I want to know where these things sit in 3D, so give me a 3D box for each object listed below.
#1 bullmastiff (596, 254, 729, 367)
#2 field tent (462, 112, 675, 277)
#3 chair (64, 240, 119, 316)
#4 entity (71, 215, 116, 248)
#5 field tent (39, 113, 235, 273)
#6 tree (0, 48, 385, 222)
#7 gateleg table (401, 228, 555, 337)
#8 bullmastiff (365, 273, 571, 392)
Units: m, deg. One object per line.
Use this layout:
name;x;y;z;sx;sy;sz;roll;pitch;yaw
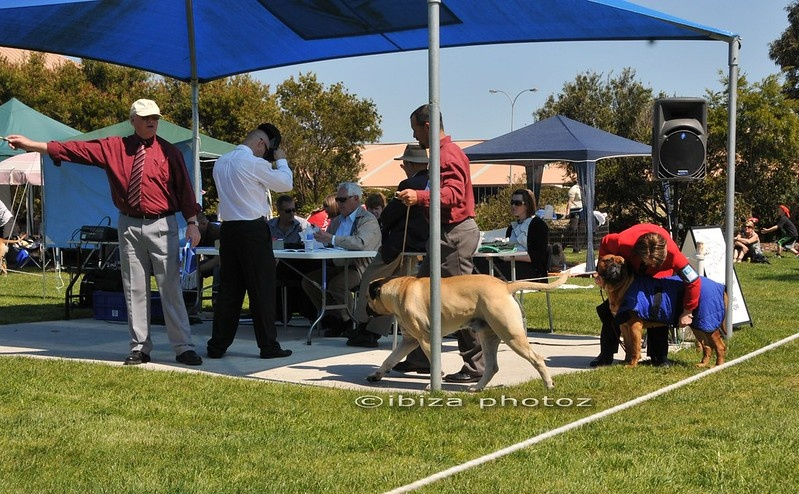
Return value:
bullmastiff;3.598;0.894;15.341;1.933;1.426;0.740;2;3;-11
field tent;3.601;-1.171;24.810;3.916;2.600;3.843;-5;6;-35
chair;-5.185;0.538;18.609;1.242;1.079;0.928;4;7;36
entity;-5.597;-0.277;20.198;0.777;0.490;0.792;-3;-3;39
field tent;-5.501;-0.948;24.002;3.717;2.468;3.680;-4;-4;44
tree;-8.693;-5.500;44.753;11.130;4.057;9.947;-1;1;-29
gateleg table;1.273;0.845;16.502;2.285;1.569;1.755;3;6;41
bullmastiff;0.826;1.098;14.427;2.739;1.405;0.807;-1;0;19
